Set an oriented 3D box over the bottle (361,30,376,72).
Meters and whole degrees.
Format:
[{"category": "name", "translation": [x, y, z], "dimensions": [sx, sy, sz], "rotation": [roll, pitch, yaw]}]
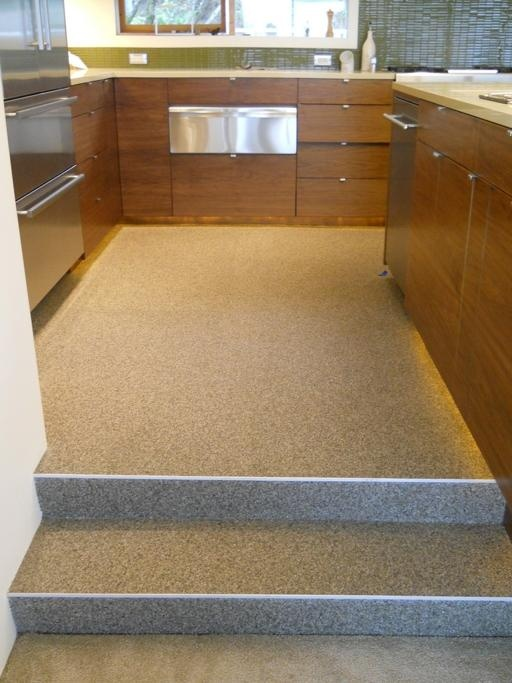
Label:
[{"category": "bottle", "translation": [0.832, -2.160, 4.082], "dimensions": [0.110, 0.403, 0.256], "rotation": [0, 4, 11]}]
